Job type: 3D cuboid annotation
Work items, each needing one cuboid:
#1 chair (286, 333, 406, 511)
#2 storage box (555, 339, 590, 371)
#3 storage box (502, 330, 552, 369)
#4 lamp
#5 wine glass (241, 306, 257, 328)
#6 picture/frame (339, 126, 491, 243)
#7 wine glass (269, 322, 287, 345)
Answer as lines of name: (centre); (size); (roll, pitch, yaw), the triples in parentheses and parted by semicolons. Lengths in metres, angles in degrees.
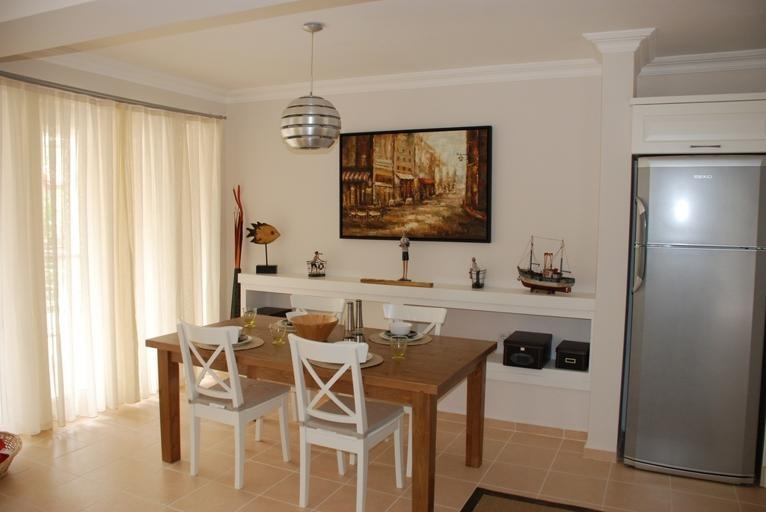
chair: (-0.312, 1.183, 4.070); (0.743, 1.300, 0.573); (6, 15, 19)
storage box: (1.737, 0.904, 5.039); (0.261, 0.158, 0.260); (0, 0, 23)
storage box: (1.396, 0.869, 5.213); (0.341, 0.215, 0.350); (1, 0, 31)
lamp: (-0.585, -1.390, 4.534); (0.443, 0.998, 1.094); (0, 14, -4)
wine glass: (-1.220, 0.542, 4.806); (0.170, 0.180, 0.168); (1, -4, 3)
picture/frame: (0.313, -0.744, 5.705); (1.672, 1.095, 0.023); (-3, 10, -15)
wine glass: (-0.878, 0.642, 4.570); (0.164, 0.179, 0.166); (0, -5, 1)
